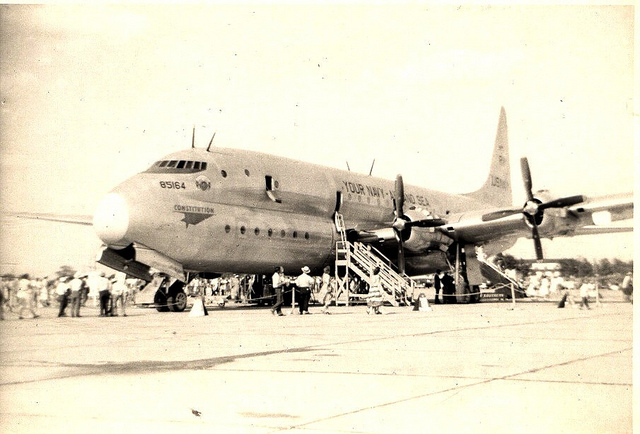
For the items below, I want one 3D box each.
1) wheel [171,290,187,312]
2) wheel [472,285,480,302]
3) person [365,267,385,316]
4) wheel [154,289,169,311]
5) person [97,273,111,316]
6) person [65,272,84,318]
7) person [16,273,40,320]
[{"bbox_3d":[-4.253,2.468,20.082,0.227,0.635,0.648,-1,-6,15],"label":"wheel"},{"bbox_3d":[5.648,2.733,24.245,0.241,0.652,0.667,-1,2,16],"label":"wheel"},{"bbox_3d":[1.479,2.063,18.017,0.413,1.084,0.511,-2,-10,4],"label":"person"},{"bbox_3d":[-4.674,2.496,20.237,0.608,0.578,0.624,0,2,0],"label":"wheel"},{"bbox_3d":[-6.049,2.134,18.758,0.341,1.181,0.965,2,-11,-17],"label":"person"},{"bbox_3d":[-6.788,2.132,18.670,0.314,1.231,0.723,2,-11,-20],"label":"person"},{"bbox_3d":[-8.066,2.211,18.495,0.528,1.169,1.849,3,-11,-23],"label":"person"}]
